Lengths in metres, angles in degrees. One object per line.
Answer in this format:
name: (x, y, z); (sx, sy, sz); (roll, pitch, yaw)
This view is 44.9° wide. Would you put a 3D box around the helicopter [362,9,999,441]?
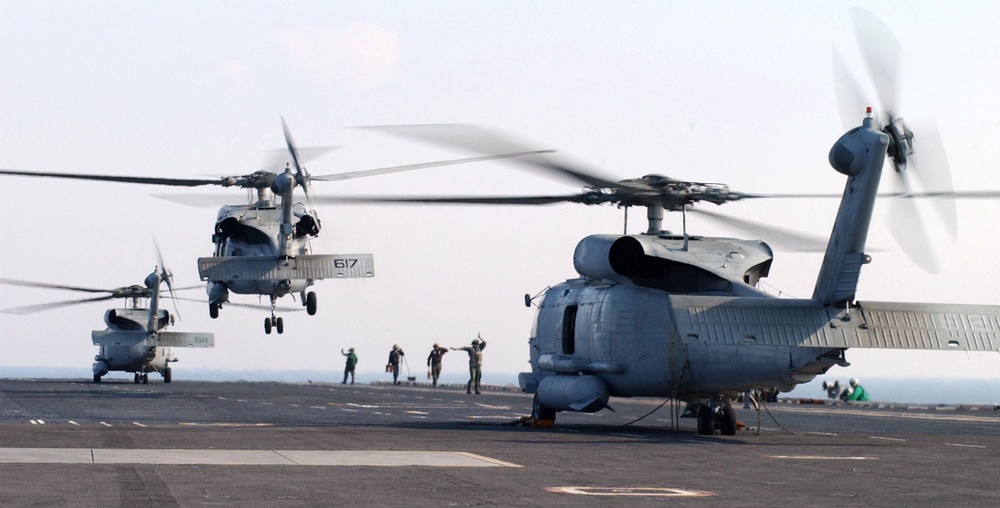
helicopter: (6.522, -0.566, 41.880); (15.453, 7.537, 17.457); (1, 2, -25)
